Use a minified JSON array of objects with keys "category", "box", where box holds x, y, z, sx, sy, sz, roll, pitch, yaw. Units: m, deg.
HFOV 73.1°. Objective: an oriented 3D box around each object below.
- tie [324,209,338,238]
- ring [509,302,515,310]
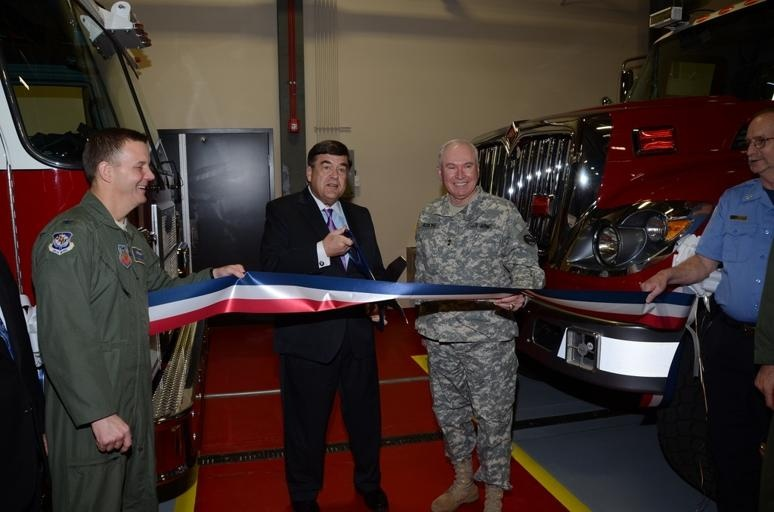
[{"category":"tie","box":[-0.343,-0.198,3.156,0.060,0.019,0.192,1,57,-10]},{"category":"ring","box":[0.722,0.282,3.035,0.027,0.028,0.077,-3,-14,5]}]
